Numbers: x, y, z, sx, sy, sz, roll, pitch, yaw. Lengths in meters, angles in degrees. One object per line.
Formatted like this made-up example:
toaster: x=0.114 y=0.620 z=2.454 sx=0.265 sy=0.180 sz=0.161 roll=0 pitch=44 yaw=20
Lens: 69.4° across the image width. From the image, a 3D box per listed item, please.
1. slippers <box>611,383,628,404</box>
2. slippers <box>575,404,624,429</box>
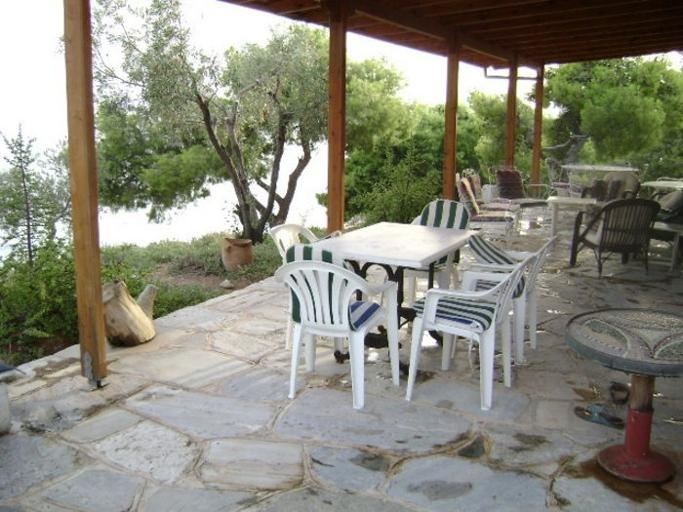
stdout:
slippers: x=1.987 y=0.980 z=3.539 sx=0.122 sy=0.032 sz=0.364 roll=1 pitch=10 yaw=30
slippers: x=1.696 y=1.055 z=3.250 sx=0.175 sy=0.060 sz=0.120 roll=6 pitch=10 yaw=41
